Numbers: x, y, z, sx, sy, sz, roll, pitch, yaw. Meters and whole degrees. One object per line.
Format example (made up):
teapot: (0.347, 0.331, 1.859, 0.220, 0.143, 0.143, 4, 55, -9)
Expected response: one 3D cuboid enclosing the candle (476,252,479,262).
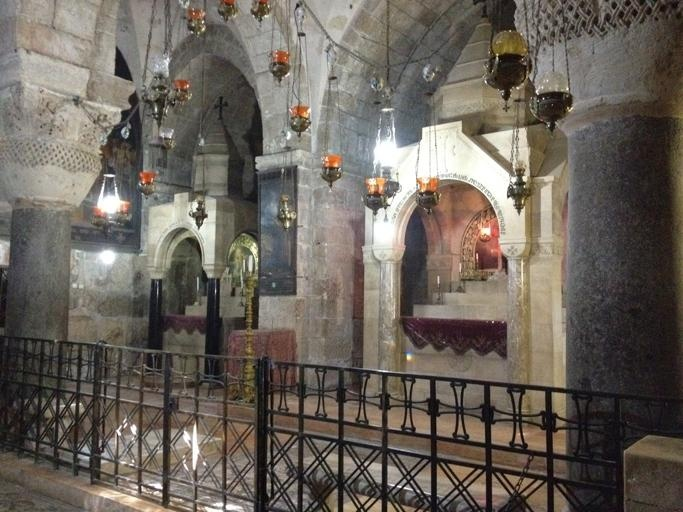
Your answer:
candle: (2.800, 0.023, 14.754, 0.071, 0.153, 0.020, 1, -6, -7)
